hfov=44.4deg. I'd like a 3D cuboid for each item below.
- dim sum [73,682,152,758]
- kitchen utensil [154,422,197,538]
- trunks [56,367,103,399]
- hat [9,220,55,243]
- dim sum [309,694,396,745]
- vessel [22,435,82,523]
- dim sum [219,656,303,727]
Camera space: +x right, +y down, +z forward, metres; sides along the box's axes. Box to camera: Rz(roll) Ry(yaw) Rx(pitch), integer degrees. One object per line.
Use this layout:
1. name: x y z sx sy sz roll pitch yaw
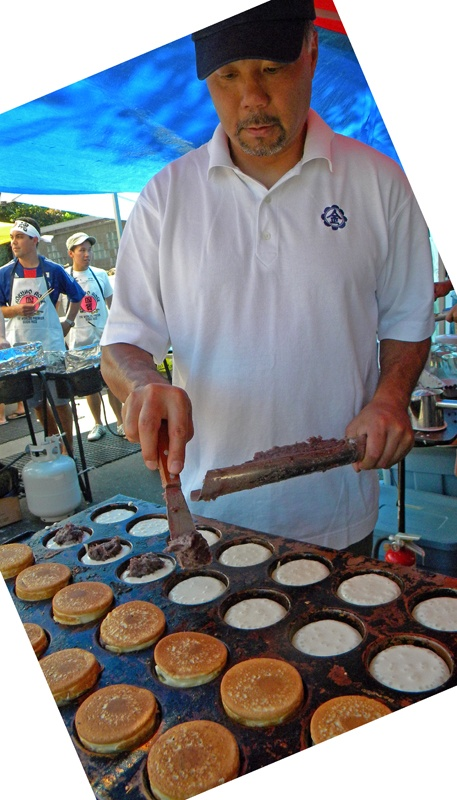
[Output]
1. dim sum: -0.255 0.703 1.243 0.175 0.041 0.183 2 10 18
2. kitchen utensil: -0.144 0.233 1.566 0.071 0.039 0.343 -8 42 -4
3. trunks: -1.500 -0.178 5.651 0.469 0.303 0.356 -11 13 -19
4. hat: -2.290 -1.950 6.386 0.174 0.239 0.413 0 14 28
5. dim sum: 0.246 0.637 1.130 0.150 0.037 0.154 -8 11 -4
6. vessel: -1.558 0.692 4.936 0.462 0.695 0.451 -18 23 -30
7. dim sum: 0.071 0.642 1.255 0.180 0.042 0.202 -8 13 -6
